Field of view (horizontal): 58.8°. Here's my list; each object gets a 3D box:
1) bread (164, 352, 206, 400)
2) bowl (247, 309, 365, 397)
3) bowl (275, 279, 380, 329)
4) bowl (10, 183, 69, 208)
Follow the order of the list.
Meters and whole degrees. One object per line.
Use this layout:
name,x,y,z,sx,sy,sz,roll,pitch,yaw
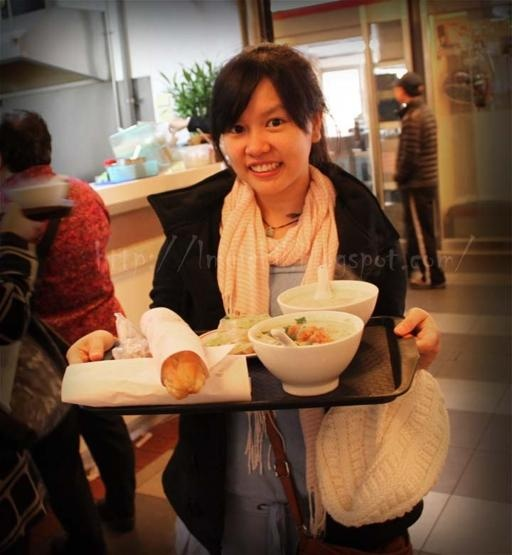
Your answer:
bread,-0.084,0.106,0.513,0.053,0.031,0.086,1,15,-16
bowl,0.062,0.088,0.537,0.119,0.072,0.127,-6,12,1
bowl,0.120,0.043,0.615,0.089,0.045,0.092,-5,3,0
bowl,-0.361,-0.131,0.747,0.068,0.027,0.051,-4,-2,1
